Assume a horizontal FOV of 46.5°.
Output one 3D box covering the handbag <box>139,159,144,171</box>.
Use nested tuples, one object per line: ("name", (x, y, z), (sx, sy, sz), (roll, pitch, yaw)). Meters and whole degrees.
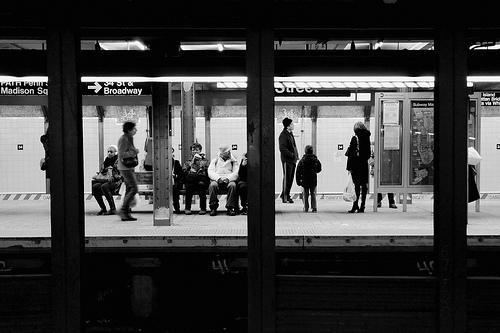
("handbag", (-2.567, -0.040, 13.828), (0.104, 0.278, 0.200), (9, -3, -22))

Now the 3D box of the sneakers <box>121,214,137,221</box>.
("sneakers", (-2.330, 0.971, 11.177), (0.230, 0.099, 0.118), (-1, 2, -13))

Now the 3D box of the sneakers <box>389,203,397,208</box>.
("sneakers", (3.142, 0.875, 12.765), (0.188, 0.081, 0.069), (-2, 3, -14))

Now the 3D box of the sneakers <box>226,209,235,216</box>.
("sneakers", (-0.380, 0.904, 11.526), (0.076, 0.162, 0.227), (1, -16, -11))

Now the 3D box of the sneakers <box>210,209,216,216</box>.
("sneakers", (-0.727, 0.909, 11.506), (0.090, 0.117, 0.270), (0, -9, -3))

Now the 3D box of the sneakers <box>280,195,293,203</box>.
("sneakers", (0.871, 0.788, 14.057), (0.181, 0.163, 0.383), (1, -7, -7))

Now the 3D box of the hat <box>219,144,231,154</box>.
("hat", (-0.517, -0.361, 12.006), (0.195, 0.107, 0.155), (-13, 21, 42))

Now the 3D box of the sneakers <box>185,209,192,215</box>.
("sneakers", (-1.262, 0.919, 11.857), (0.121, 0.085, 0.196), (0, 1, -10))

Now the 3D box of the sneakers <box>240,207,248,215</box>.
("sneakers", (-0.121, 0.901, 11.700), (0.105, 0.129, 0.320), (0, -9, 2))

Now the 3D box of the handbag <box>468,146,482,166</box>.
("handbag", (4.472, -0.203, 11.628), (0.216, 0.369, 0.539), (0, 1, 19))

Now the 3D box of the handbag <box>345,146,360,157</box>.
("handbag", (2.153, -0.294, 12.277), (0.353, 0.279, 0.184), (0, -3, 5))

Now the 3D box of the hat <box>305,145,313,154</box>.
("hat", (1.267, -0.376, 12.556), (0.139, 0.187, 0.186), (2, 7, 7))

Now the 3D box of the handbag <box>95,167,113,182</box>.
("handbag", (-3.076, 0.204, 12.352), (0.314, 0.093, 0.309), (-3, 32, 11))
